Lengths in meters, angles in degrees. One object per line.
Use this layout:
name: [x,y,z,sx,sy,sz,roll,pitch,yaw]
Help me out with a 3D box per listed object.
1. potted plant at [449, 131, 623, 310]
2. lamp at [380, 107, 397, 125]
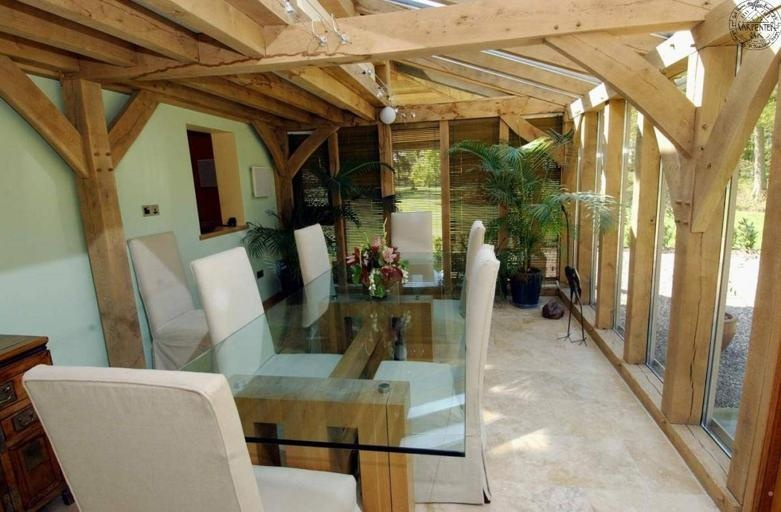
potted plant: [1.754,-0.170,6.605,2.181,2.239,1.926,0,2,0]
lamp: [-0.042,-1.756,6.789,0.131,0.225,0.230,6,-4,22]
